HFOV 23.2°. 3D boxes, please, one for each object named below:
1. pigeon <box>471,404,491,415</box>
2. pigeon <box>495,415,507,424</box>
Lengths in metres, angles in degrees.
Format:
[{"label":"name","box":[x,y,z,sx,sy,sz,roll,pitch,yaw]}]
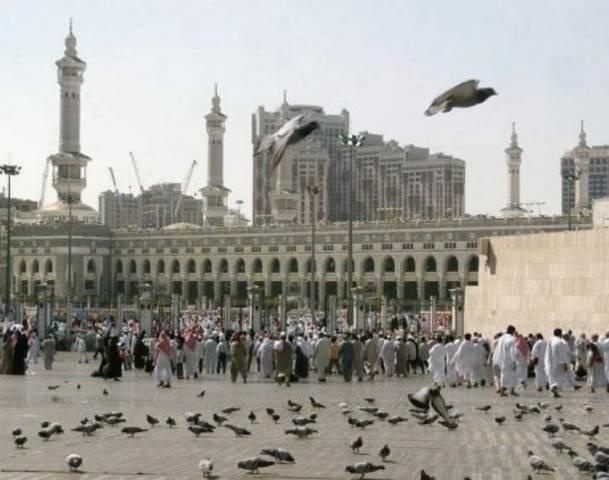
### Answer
[{"label":"pigeon","box":[4.702,4.479,39.720,0.572,0.259,0.192,8,-9,-1]},{"label":"pigeon","box":[5.038,4.608,38.265,0.240,0.174,0.229,-1,3,-19]}]
